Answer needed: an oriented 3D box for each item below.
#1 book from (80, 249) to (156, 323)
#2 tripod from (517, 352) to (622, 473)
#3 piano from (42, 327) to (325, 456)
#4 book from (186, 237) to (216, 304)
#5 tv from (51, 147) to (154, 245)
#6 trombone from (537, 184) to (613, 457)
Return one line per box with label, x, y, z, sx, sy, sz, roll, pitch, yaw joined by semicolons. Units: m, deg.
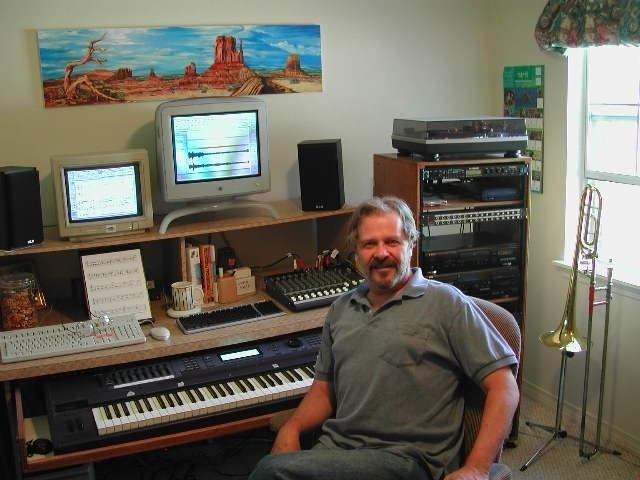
book;-1.128;0.237;2.888;0.395;0.360;0.094;-7;6;-24
tripod;1.489;1.032;3.263;0.456;0.713;0.609;-1;16;-14
piano;-0.595;0.711;2.577;1.322;0.173;0.380;-8;44;-24
book;-0.668;0.169;2.986;0.183;0.339;0.101;-5;24;-32
tv;-1.156;-0.238;2.775;0.524;0.464;0.225;-7;21;-36
trombone;1.484;0.557;3.134;0.276;1.744;0.401;8;17;23
